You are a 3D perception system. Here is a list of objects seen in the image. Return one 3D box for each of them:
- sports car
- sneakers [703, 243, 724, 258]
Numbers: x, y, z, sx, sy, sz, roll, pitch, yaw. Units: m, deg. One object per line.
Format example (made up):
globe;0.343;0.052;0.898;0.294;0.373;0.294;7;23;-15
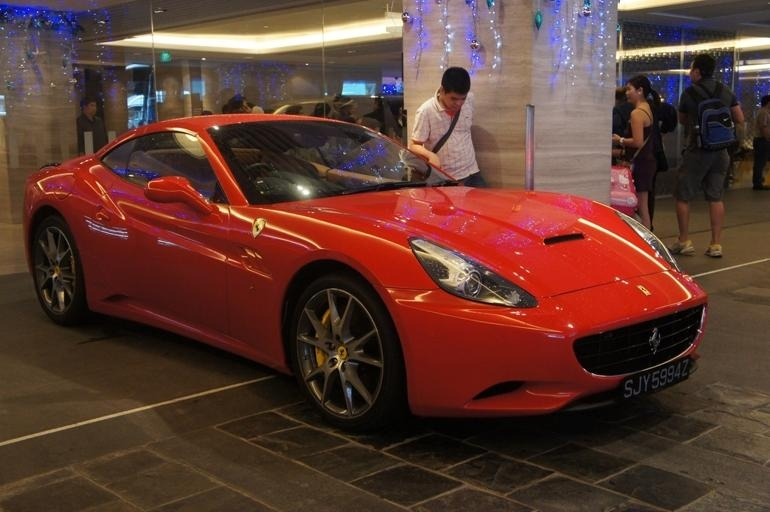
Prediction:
sports car;-0.513;-0.086;3.805;4.443;1.176;2.145;11;16;33
sneakers;4.375;-0.090;7.259;0.134;0.122;0.298;0;10;16
